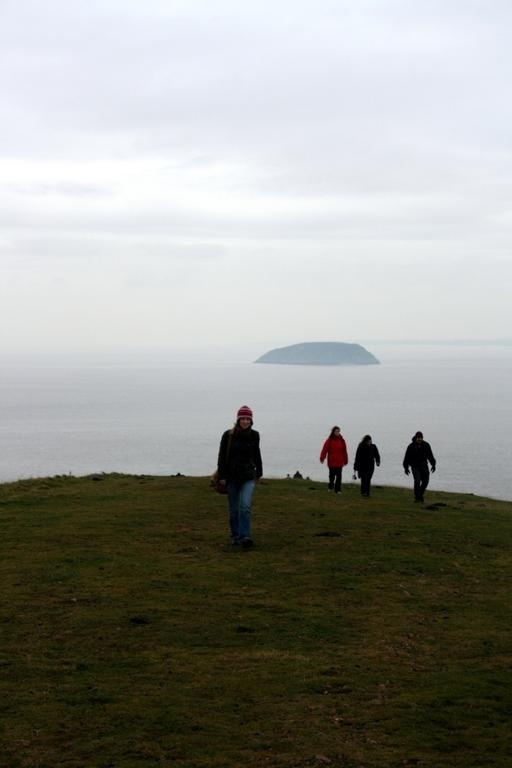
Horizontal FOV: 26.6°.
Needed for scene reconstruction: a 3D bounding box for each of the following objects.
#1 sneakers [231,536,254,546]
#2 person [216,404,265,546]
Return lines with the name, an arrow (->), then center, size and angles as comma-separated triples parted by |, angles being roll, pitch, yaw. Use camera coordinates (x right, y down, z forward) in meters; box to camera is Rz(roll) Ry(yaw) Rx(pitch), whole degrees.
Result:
sneakers -> -0.174, 2.104, 14.432 | 0.104, 0.141, 0.329 | -27, 16, -30
person -> -0.223, 1.237, 14.312 | 0.645, 1.747, 0.697 | -6, -1, -3
